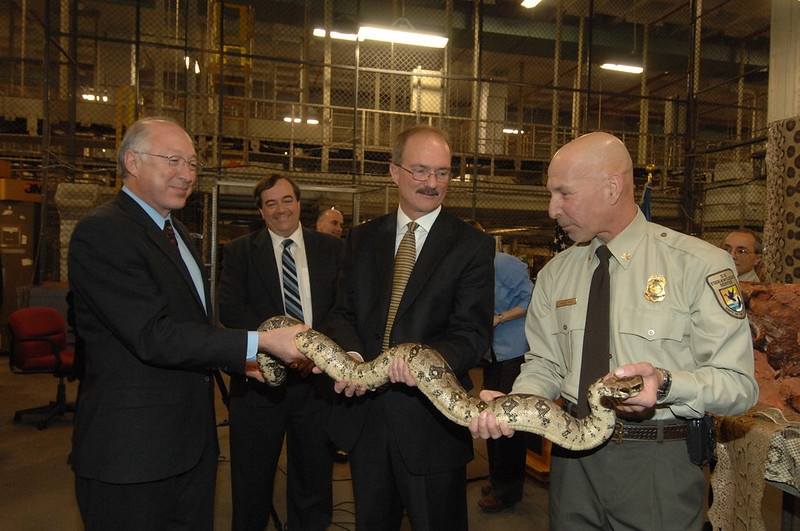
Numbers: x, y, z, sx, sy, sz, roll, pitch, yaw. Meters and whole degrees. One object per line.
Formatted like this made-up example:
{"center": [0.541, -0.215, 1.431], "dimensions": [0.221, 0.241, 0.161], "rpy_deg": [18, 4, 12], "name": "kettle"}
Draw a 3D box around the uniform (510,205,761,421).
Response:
{"center": [2.380, 0.558, 7.887], "dimensions": [2.047, 2.417, 2.755], "rpy_deg": [-1, -2, -35], "name": "uniform"}
